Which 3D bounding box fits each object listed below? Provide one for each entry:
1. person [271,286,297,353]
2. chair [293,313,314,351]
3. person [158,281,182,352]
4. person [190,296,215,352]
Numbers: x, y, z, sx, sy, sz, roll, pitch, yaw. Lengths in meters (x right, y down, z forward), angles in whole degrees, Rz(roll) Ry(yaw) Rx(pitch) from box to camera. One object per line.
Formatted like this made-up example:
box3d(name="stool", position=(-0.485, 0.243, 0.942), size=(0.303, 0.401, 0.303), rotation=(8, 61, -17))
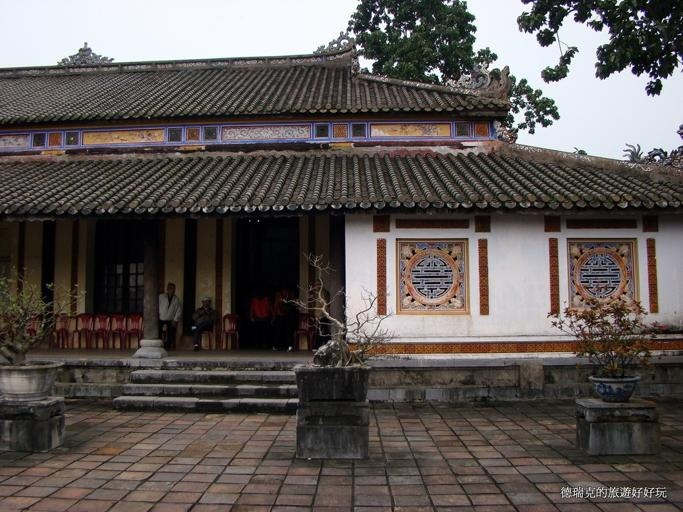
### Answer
box3d(name="person", position=(-1.253, 1.404, 13.094), size=(0.558, 1.320, 0.658), rotation=(-1, -4, -4))
box3d(name="chair", position=(-0.817, 1.678, 13.029), size=(0.471, 0.802, 0.321), rotation=(-1, -4, -5))
box3d(name="person", position=(-3.836, 1.337, 13.184), size=(0.517, 1.480, 0.442), rotation=(0, -4, -24))
box3d(name="person", position=(-3.025, 1.490, 12.935), size=(0.369, 1.110, 0.688), rotation=(-5, -5, 37))
